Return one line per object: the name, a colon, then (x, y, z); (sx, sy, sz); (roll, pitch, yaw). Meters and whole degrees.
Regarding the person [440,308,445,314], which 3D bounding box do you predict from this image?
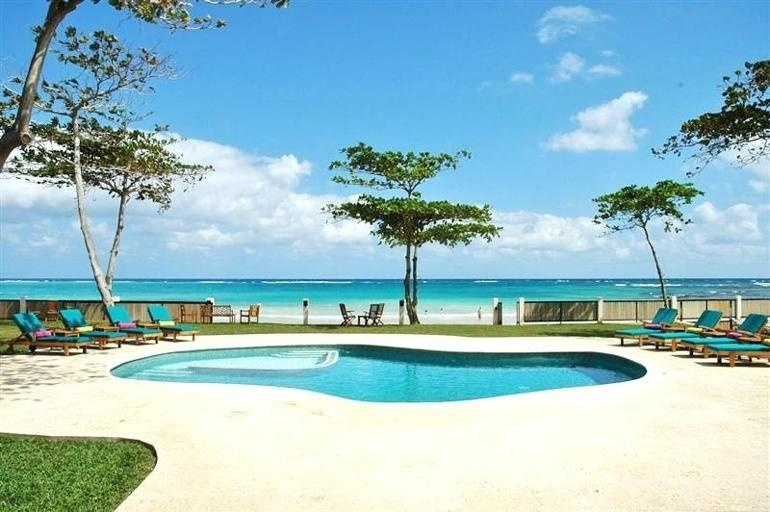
person: (5.338, 5.085, 58.900); (0.390, 0.388, 0.700); (4, 36, 0)
